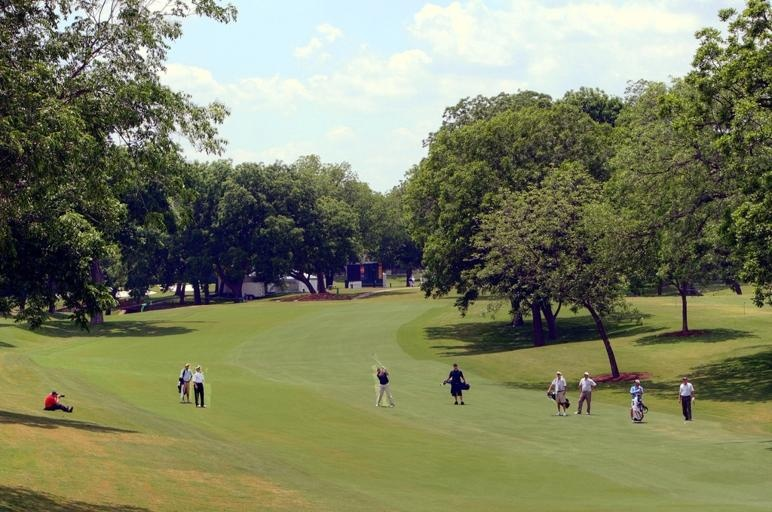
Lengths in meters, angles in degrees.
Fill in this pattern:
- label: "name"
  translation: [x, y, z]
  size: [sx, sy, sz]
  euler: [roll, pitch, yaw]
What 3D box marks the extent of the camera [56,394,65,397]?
- label: "camera"
  translation: [-18.868, 8.071, 60.445]
  size: [0.561, 0.206, 0.560]
  euler: [2, -3, -27]
